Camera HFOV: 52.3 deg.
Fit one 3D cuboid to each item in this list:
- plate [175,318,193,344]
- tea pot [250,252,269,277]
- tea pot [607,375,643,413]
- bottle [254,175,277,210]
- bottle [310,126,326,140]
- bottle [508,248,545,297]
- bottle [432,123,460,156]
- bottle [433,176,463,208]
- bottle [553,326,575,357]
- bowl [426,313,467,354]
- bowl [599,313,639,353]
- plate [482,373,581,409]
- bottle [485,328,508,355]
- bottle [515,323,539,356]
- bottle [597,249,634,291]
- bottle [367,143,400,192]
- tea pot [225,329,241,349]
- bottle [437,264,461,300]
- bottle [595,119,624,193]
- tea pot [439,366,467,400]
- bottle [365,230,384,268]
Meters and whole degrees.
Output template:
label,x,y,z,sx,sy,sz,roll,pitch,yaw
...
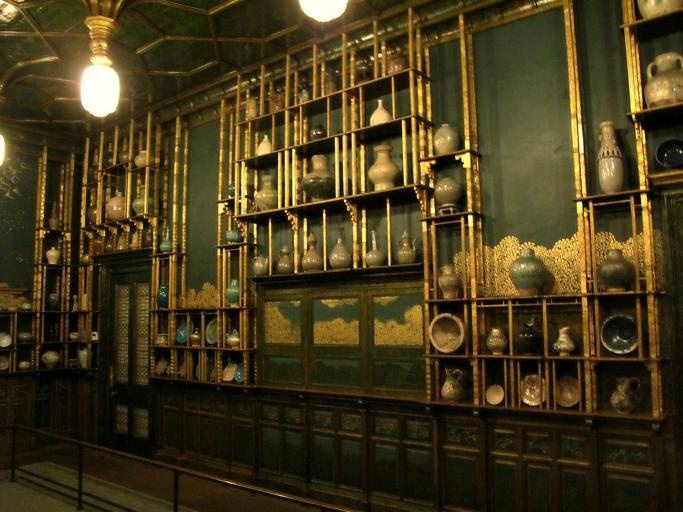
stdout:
label,x,y,z,sx,sy,sz,roll,pitch,yaw
plate,-1.858,0.897,8.270,0.245,0.354,0.167,5,-18,-13
tea pot,-0.935,0.109,7.644,0.191,0.243,0.249,5,-11,-28
tea pot,2.364,1.151,5.778,0.262,0.296,0.216,-5,-9,25
bottle,-0.797,-0.685,7.665,0.288,0.377,0.298,-1,9,0
bottle,-0.257,-1.300,7.367,0.157,0.150,0.135,-1,10,-29
bottle,1.662,0.136,6.184,0.327,0.421,0.333,-3,0,0
bottle,1.029,-1.100,6.684,0.249,0.309,0.254,1,0,26
bottle,1.002,-0.575,6.537,0.265,0.306,0.265,-3,-6,41
bottle,1.911,0.726,5.943,0.218,0.292,0.212,1,-1,0
bowl,0.980,0.715,6.409,0.350,0.366,0.182,-4,-9,19
bowl,2.330,0.654,5.813,0.113,0.312,0.304,-4,20,-45
plate,1.669,1.178,6.072,0.820,0.285,0.286,-4,-9,18
bottle,1.384,0.765,6.263,0.205,0.247,0.207,0,-19,5
bottle,1.659,0.724,6.137,0.226,0.284,0.211,-1,-8,0
bottle,2.315,0.125,5.854,0.383,0.366,0.381,1,-3,-31
bottle,0.430,-0.861,6.922,0.312,0.431,0.313,-2,6,0
tea pot,-1.193,0.928,7.785,0.195,0.189,0.164,-2,-15,10
bottle,1.027,0.229,6.520,0.224,0.329,0.234,-2,-5,0
bottle,2.277,-0.824,5.885,0.194,0.636,0.127,-4,-9,22
tea pot,1.022,1.194,6.439,0.207,0.291,0.231,-3,2,21
bottle,0.332,-0.067,6.870,0.177,0.364,0.180,-3,0,0
